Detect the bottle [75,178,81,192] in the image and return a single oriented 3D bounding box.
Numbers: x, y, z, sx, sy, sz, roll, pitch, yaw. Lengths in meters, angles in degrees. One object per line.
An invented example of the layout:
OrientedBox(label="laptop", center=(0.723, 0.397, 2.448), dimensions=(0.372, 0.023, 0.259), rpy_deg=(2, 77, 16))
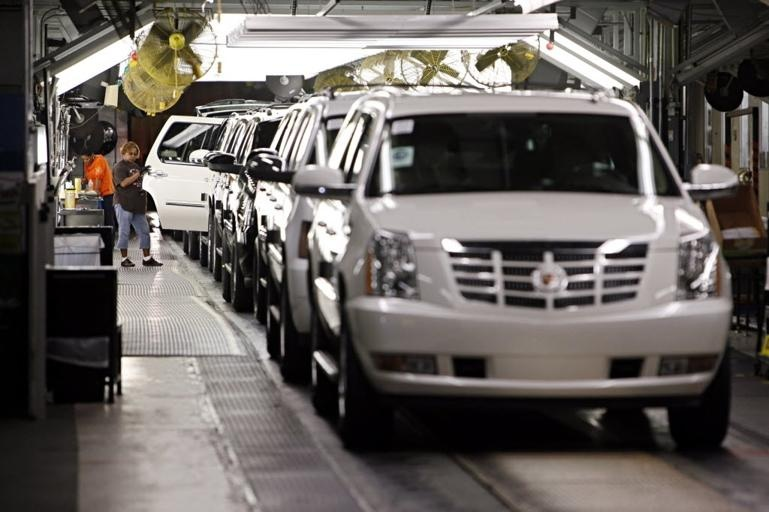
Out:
OrientedBox(label="bottle", center=(-9.118, -2.125, 19.678), dimensions=(0.138, 0.408, 0.664), rpy_deg=(0, 2, -28))

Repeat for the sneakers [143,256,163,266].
OrientedBox(label="sneakers", center=(-5.911, 0.128, 16.891), dimensions=(0.453, 0.209, 0.232), rpy_deg=(-2, 6, -5))
